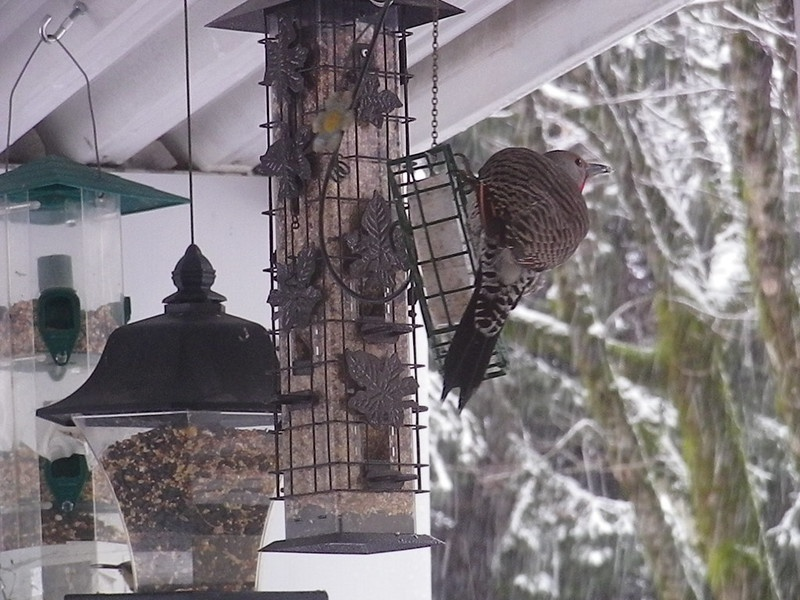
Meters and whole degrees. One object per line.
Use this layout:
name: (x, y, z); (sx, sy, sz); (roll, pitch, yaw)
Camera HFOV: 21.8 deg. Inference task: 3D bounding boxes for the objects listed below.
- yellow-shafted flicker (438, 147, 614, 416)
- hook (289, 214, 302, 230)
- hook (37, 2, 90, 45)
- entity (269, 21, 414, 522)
yellow-shafted flicker: (0.306, -0.126, 6.587); (0.338, 0.956, 0.345); (33, -13, -16)
hook: (-0.342, -0.247, 6.759); (0.011, 0.069, 0.046); (-8, 9, -43)
hook: (-1.191, -0.972, 7.332); (0.187, 0.108, 0.049); (-45, -4, -5)
entity: (-0.179, -0.077, 6.709); (0.506, 1.664, 0.558); (0, -10, -4)
